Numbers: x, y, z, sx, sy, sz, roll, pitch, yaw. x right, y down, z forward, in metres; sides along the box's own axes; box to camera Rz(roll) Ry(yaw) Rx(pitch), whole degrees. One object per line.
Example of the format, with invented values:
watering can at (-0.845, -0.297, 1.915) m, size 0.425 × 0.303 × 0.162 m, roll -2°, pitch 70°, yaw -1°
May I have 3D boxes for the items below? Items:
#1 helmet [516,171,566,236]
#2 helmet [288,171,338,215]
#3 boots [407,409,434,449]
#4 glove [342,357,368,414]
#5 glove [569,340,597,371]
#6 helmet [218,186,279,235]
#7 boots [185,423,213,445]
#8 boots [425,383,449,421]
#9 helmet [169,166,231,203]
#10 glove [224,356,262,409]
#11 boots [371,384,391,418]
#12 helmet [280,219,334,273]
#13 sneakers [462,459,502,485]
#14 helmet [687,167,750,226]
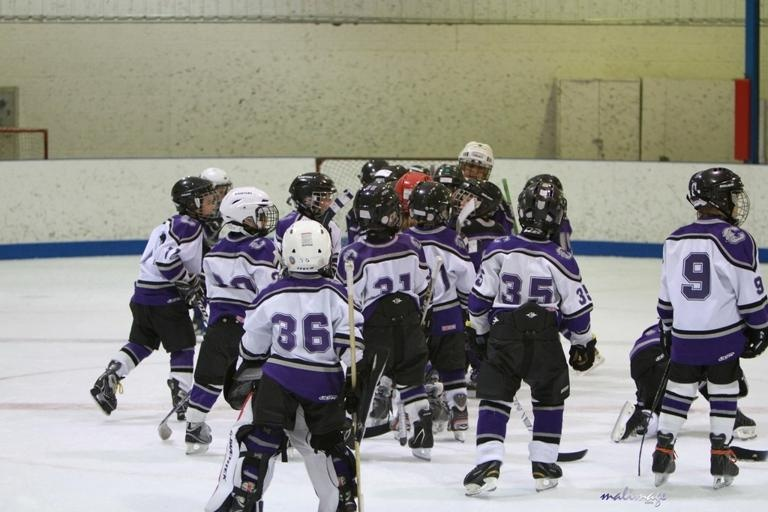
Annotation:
helmet at (1.230, -0.401, 8.095) m, size 0.378 × 0.456 × 0.470 m, roll 8°, pitch -17°, yaw 7°
helmet at (-0.660, -0.578, 9.242) m, size 0.423 × 0.323 × 0.312 m, roll 1°, pitch 5°, yaw 4°
boots at (0.291, 1.420, 8.461) m, size 0.165 × 0.302 × 0.334 m, roll 3°, pitch -3°, yaw -44°
glove at (-0.192, 0.931, 7.295) m, size 0.245 × 0.318 × 0.121 m, roll -4°, pitch -9°, yaw 21°
glove at (1.537, 0.767, 8.004) m, size 0.198 × 0.251 × 0.117 m, roll 6°, pitch 0°, yaw 32°
helmet at (-1.132, -0.384, 8.615) m, size 0.484 × 0.382 × 0.362 m, roll -3°, pitch 10°, yaw -14°
boots at (-1.512, 1.471, 8.531) m, size 0.237 × 0.213 × 0.150 m, roll -1°, pitch 6°, yaw -27°
boots at (0.464, 1.271, 8.980) m, size 0.193 × 0.310 × 0.097 m, roll -2°, pitch -25°, yaw -17°
helmet at (-1.881, -0.762, 10.762) m, size 0.481 × 0.373 × 0.361 m, roll -19°, pitch 17°, yaw 3°
glove at (-1.013, 0.915, 7.482) m, size 0.146 × 0.326 × 0.333 m, roll 20°, pitch -6°, yaw -14°
boots at (-0.001, 1.243, 8.987) m, size 0.216 × 0.110 × 0.367 m, roll 6°, pitch -34°, yaw -10°
helmet at (-0.568, -0.085, 7.533) m, size 0.414 × 0.421 × 0.532 m, roll 1°, pitch 19°, yaw -7°
sneakers at (0.747, 1.643, 7.789) m, size 0.357 × 0.128 × 0.158 m, roll -24°, pitch 34°, yaw 23°
helmet at (2.524, -0.477, 8.054) m, size 0.505 × 0.443 × 0.390 m, roll 1°, pitch -1°, yaw -2°
